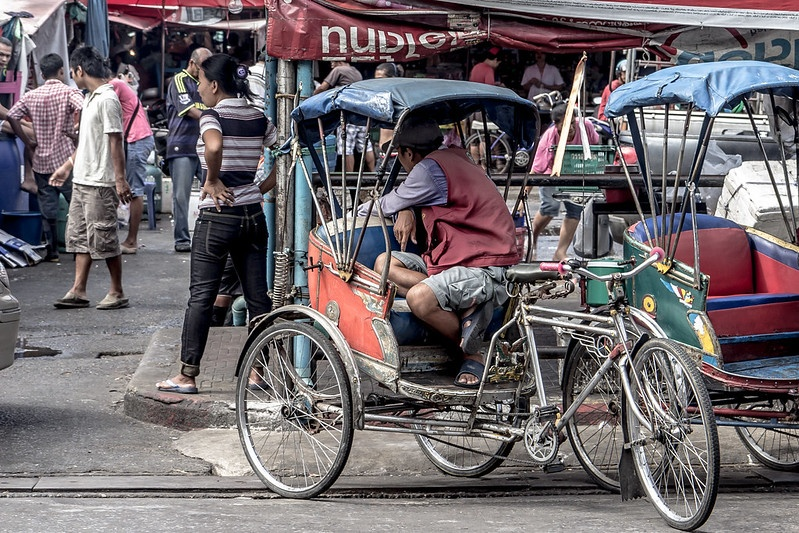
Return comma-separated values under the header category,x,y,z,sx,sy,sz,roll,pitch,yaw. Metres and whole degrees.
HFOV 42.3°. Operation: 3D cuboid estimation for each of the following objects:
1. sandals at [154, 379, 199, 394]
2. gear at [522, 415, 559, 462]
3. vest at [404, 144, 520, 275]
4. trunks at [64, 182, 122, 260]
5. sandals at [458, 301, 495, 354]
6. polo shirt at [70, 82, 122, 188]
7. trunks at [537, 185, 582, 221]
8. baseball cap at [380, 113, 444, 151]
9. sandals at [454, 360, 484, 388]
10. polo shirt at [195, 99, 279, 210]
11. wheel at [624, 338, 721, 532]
category,x,y,z,sx,sy,sz,roll,pitch,yaw
sandals,-1.852,0.977,8.612,0.254,0.078,0.137,8,0,5
gear,0.949,1.138,6.899,0.083,0.336,0.319,-10,10,-38
vest,0.473,-0.388,7.557,0.733,0.967,0.776,-7,-2,6
trunks,-3.446,-0.559,11.601,0.760,0.824,0.457,11,15,36
sandals,0.540,0.437,7.158,0.155,0.425,0.166,44,-26,-20
polo shirt,-3.289,-1.421,11.323,0.609,1.103,0.319,6,16,22
trunks,2.074,-0.829,13.437,0.530,0.185,0.379,9,-3,-32
baseball cap,0.109,-0.985,7.523,0.502,0.249,0.342,-9,12,1
sandals,0.479,0.739,7.082,0.186,0.142,0.217,1,14,3
polo shirt,-1.316,-0.926,8.472,0.906,0.895,0.475,-7,16,-31
wheel,1.790,1.036,6.861,0.583,1.215,1.088,3,15,12
